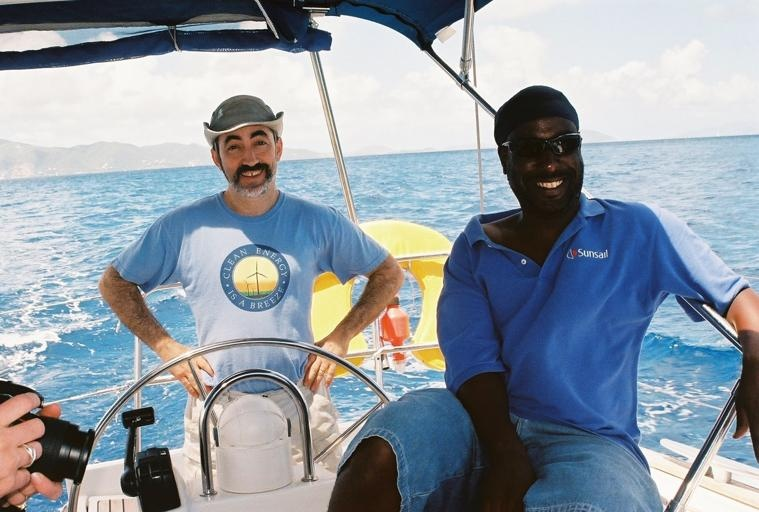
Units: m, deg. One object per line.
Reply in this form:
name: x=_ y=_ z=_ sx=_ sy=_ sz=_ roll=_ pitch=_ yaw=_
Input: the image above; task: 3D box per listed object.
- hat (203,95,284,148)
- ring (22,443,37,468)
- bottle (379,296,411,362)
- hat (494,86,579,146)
hat: x=-0.634 y=-0.611 z=2.511 sx=0.380 sy=0.173 sz=0.426 roll=-15 pitch=5 yaw=-20
ring: x=-0.686 y=0.397 z=1.099 sx=0.033 sy=0.037 sz=0.016 roll=35 pitch=20 yaw=16
bottle: x=0.128 y=0.474 z=4.024 sx=0.205 sy=0.527 sz=0.189 roll=-8 pitch=2 yaw=0
hat: x=0.553 y=-0.465 z=1.885 sx=0.286 sy=0.102 sz=0.292 roll=0 pitch=-10 yaw=6
